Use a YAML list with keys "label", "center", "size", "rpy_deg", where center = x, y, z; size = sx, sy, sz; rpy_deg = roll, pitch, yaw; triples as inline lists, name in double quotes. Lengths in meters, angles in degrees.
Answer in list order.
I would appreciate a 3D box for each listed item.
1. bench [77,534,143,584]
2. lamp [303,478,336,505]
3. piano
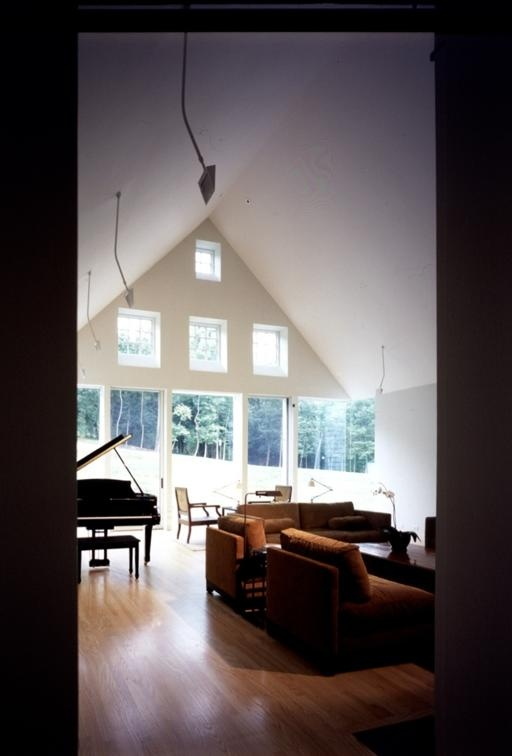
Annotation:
- label: "bench"
  center: [-1.693, 1.999, 6.911]
  size: [0.661, 0.397, 1.627]
  rpy_deg: [1, -7, -16]
- label: "lamp"
  center: [1.252, 2.110, 11.397]
  size: [0.734, 0.428, 0.244]
  rpy_deg: [4, -7, -43]
- label: "piano"
  center: [-1.684, 1.496, 7.139]
  size: [1.035, 2.035, 1.538]
  rpy_deg: [1, -11, -16]
